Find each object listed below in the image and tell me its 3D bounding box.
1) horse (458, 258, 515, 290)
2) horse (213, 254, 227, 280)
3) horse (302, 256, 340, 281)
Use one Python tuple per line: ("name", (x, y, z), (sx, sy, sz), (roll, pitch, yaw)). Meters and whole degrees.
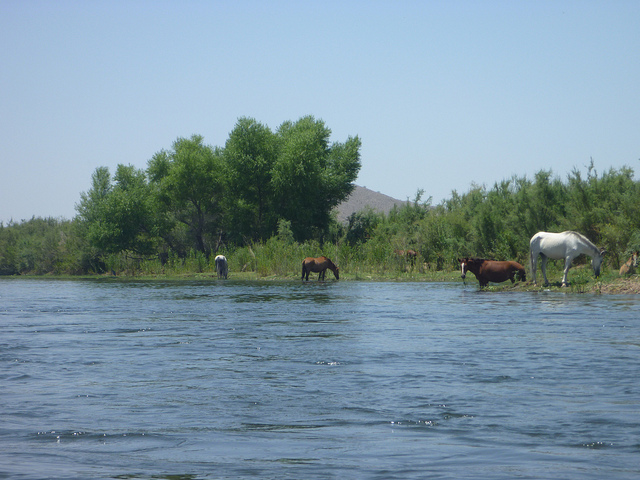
("horse", (7.571, 1.632, 49.503), (2.772, 2.109, 0.751), (-2, 9, 0))
("horse", (-5.418, 1.441, 62.754), (0.381, 1.169, 0.934), (-9, 15, -36))
("horse", (-0.074, 1.481, 58.225), (1.986, 1.309, 1.251), (-5, 13, -17))
